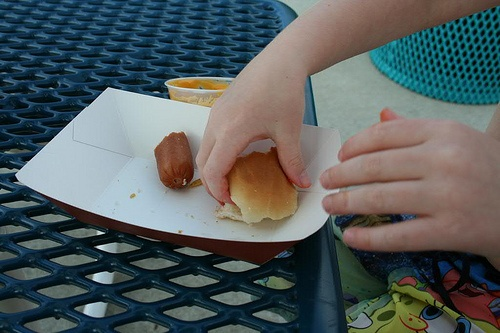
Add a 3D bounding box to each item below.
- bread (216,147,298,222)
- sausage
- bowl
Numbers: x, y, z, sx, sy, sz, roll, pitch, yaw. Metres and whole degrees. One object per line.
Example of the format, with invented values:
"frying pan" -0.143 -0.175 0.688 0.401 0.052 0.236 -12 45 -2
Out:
"bread" 0.033 0.057 1.111 0.167 0.051 0.165 -12 62 -5
"sausage" -0.200 -0.027 1.230 0.104 0.075 0.179 -5 60 -12
"bowl" -0.138 -0.203 1.344 0.155 0.181 0.095 0 93 11
